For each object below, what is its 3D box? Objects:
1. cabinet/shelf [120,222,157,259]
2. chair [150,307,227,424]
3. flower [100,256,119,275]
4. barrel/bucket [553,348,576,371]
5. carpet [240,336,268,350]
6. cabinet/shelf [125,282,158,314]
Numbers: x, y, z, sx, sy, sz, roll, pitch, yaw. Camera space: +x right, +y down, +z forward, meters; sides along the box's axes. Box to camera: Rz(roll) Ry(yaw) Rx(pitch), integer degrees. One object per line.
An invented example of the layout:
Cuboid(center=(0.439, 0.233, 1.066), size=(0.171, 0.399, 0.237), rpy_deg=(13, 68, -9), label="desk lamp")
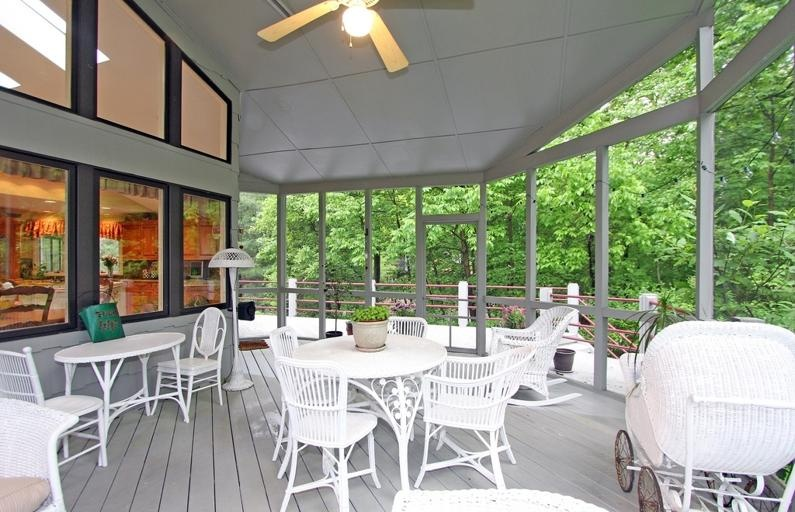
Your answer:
Cuboid(center=(-3.114, -0.172, 6.140), size=(0.494, 0.439, 0.215), rpy_deg=(-2, 0, 3), label="cabinet/shelf")
Cuboid(center=(-2.501, 1.247, 6.098), size=(0.617, 1.165, 0.704), rpy_deg=(1, -1, 22), label="chair")
Cuboid(center=(-3.334, 0.115, 5.754), size=(0.177, 0.195, 0.177), rpy_deg=(3, -4, -33), label="flower")
Cuboid(center=(2.425, 1.524, 7.245), size=(0.360, 0.268, 0.368), rpy_deg=(1, -4, 0), label="barrel/bucket")
Cuboid(center=(-2.596, 1.595, 8.972), size=(0.459, 0.115, 0.957), rpy_deg=(1, -4, -18), label="carpet")
Cuboid(center=(-3.114, 0.529, 6.214), size=(0.468, 0.431, 0.251), rpy_deg=(-2, -5, 7), label="cabinet/shelf")
